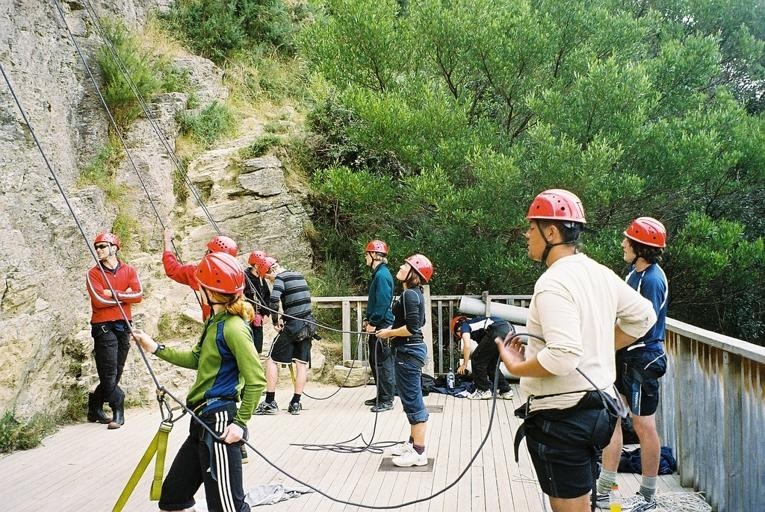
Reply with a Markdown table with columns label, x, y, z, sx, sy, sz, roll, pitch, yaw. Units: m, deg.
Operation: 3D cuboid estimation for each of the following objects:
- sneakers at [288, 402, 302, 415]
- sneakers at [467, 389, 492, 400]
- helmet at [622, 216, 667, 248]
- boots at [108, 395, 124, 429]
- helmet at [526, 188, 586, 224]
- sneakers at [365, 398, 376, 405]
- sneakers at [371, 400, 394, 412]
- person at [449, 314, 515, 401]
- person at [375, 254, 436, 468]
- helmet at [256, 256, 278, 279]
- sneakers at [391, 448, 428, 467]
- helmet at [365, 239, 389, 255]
| label | x | y | z | sx | sy | sz | roll | pitch | yaw |
| --- | --- | --- | --- | --- | --- | --- | --- | --- | --- |
| sneakers | -1.464 | 2.544 | 10.970 | 0.219 | 0.218 | 0.193 | -2 | 10 | -14 |
| sneakers | 1.744 | 2.441 | 11.628 | 0.464 | 0.236 | 0.167 | 0 | -6 | 16 |
| helmet | 3.258 | -0.274 | 8.099 | 0.420 | 0.196 | 0.358 | 14 | 13 | 9 |
| boots | -4.246 | 2.478 | 10.239 | 0.198 | 0.422 | 0.431 | -2 | -14 | 3 |
| helmet | 1.788 | -0.493 | 6.668 | 0.425 | 0.249 | 0.370 | 1 | 3 | 14 |
| sneakers | -0.191 | 2.550 | 11.427 | 0.203 | 0.089 | 0.086 | -3 | -6 | 19 |
| sneakers | 0.014 | 2.522 | 11.014 | 0.387 | 0.179 | 0.175 | 2 | -5 | -8 |
| person | 1.711 | 1.772 | 11.573 | 1.189 | 1.600 | 0.705 | -9 | -22 | 24 |
| person | 0.365 | 1.446 | 9.116 | 0.602 | 2.825 | 0.810 | 0 | 9 | 3 |
| helmet | -1.991 | 0.187 | 11.181 | 0.356 | 0.312 | 0.283 | -16 | 37 | 37 |
| sneakers | 0.376 | 2.766 | 9.059 | 0.520 | 0.271 | 0.206 | 3 | -1 | -2 |
| helmet | -0.090 | -0.137 | 10.176 | 0.321 | 0.221 | 0.295 | -1 | 10 | -6 |
